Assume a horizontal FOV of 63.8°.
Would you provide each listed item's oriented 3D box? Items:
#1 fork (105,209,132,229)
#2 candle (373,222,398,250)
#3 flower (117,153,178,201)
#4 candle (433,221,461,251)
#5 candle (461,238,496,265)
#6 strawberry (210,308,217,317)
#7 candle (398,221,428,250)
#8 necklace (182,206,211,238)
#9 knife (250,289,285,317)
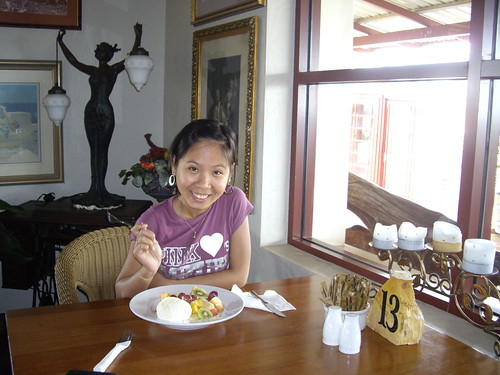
[{"bbox_3d":[-0.817,0.190,2.479,0.045,0.057,0.316,0,-20,29],"label":"fork"},{"bbox_3d":[0.632,0.219,1.872,0.105,0.113,0.173,6,11,19],"label":"candle"},{"bbox_3d":[-0.718,-0.084,2.788,0.392,0.297,0.408,1,6,-11],"label":"flower"},{"bbox_3d":[0.724,0.172,1.479,0.104,0.106,0.098,-5,-2,40],"label":"candle"},{"bbox_3d":[0.773,0.201,1.343,0.082,0.067,0.084,2,5,27],"label":"candle"},{"bbox_3d":[-0.121,0.418,1.353,0.021,0.021,0.021,0,-8,-14],"label":"strawberry"},{"bbox_3d":[0.680,0.194,1.653,0.097,0.086,0.119,3,-2,16],"label":"candle"},{"bbox_3d":[-0.228,0.149,1.794,0.083,0.114,0.028,18,24,-29],"label":"necklace"},{"bbox_3d":[0.061,0.413,1.515,0.040,0.026,0.285,-6,15,-22],"label":"knife"}]
